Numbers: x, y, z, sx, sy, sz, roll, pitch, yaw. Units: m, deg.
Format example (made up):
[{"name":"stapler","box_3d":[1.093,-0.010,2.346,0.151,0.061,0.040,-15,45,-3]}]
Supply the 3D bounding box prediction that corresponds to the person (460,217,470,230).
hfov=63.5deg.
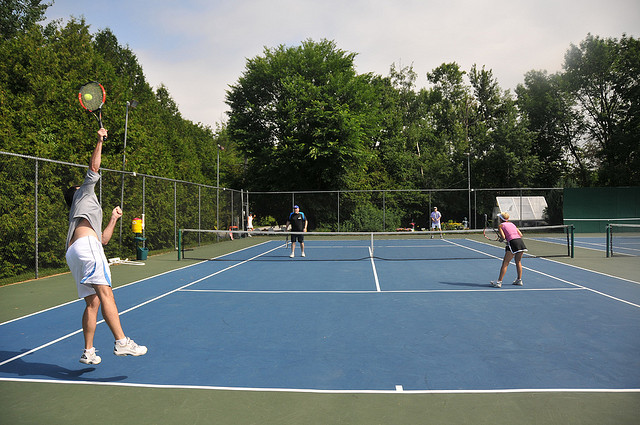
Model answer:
[{"name":"person","box_3d":[10.571,0.794,37.436,1.092,0.622,1.723,-8,3,19]}]

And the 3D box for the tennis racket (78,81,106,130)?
[{"name":"tennis racket","box_3d":[-4.972,-2.099,11.297,0.480,1.656,0.156,-4,-14,-24]}]

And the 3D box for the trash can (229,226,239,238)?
[{"name":"trash can","box_3d":[-4.978,1.103,29.594,0.719,0.742,1.297,-1,-5,-18]}]

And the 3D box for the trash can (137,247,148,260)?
[{"name":"trash can","box_3d":[-7.100,1.634,20.654,0.423,0.563,0.476,-3,-4,18]}]

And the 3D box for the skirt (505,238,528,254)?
[{"name":"skirt","box_3d":[5.929,0.999,15.510,0.621,0.476,0.407,-1,-6,-10]}]

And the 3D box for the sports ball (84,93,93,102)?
[{"name":"sports ball","box_3d":[-5.110,-2.519,11.398,0.156,0.164,0.159,7,2,0]}]
